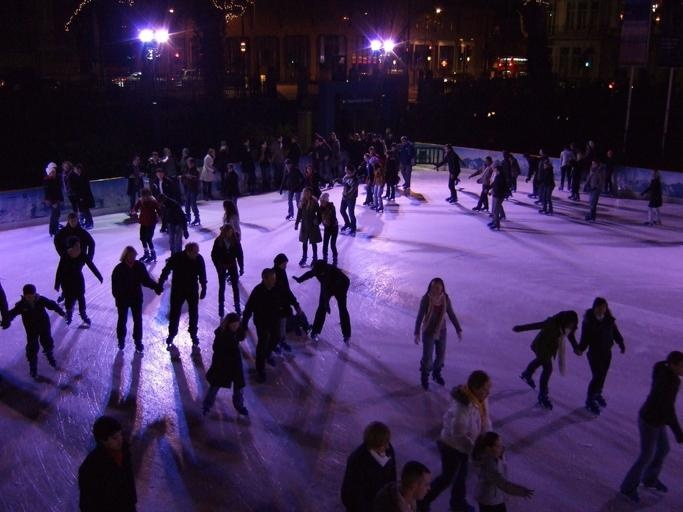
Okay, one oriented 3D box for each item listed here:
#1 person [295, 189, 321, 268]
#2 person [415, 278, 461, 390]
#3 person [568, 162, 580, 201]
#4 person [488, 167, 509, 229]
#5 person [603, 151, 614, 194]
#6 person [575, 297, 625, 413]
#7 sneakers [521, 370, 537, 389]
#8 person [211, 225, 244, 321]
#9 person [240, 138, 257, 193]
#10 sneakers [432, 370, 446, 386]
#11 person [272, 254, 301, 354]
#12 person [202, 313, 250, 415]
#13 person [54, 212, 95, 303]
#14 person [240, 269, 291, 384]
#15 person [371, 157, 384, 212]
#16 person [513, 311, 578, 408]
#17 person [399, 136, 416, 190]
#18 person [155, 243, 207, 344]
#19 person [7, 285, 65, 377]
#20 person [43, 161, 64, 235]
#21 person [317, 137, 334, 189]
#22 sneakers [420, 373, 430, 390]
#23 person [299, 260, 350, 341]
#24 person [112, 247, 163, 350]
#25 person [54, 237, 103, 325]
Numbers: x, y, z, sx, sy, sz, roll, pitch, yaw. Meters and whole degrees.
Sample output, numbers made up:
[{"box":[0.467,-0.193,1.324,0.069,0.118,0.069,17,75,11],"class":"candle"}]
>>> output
[{"box":[-0.899,-0.815,14.117,0.680,2.102,1.100,-3,13,-5],"class":"person"},{"box":[1.573,1.252,8.621,0.717,1.931,0.400,-1,22,3],"class":"person"},{"box":[9.943,-3.212,22.321,0.371,1.644,0.601,3,13,23],"class":"person"},{"box":[5.400,-2.117,18.129,0.597,2.128,1.592,2,13,16],"class":"person"},{"box":[11.788,-3.678,23.046,0.361,1.923,1.524,5,15,28],"class":"person"},{"box":[3.986,1.499,8.122,0.760,1.813,0.467,-8,14,-25],"class":"person"},{"box":[3.102,2.059,8.726,0.331,0.167,0.133,45,7,11],"class":"sneakers"},{"box":[-2.449,0.245,11.310,0.640,1.939,0.770,-5,13,-15],"class":"person"},{"box":[-4.164,-3.973,23.413,0.617,2.354,1.120,-4,13,-10],"class":"person"},{"box":[1.614,2.031,8.823,0.142,0.288,0.256,-3,11,-8],"class":"sneakers"},{"box":[-1.016,0.887,9.752,0.527,1.808,0.548,2,6,33],"class":"person"},{"box":[-1.747,1.586,7.900,0.562,1.734,0.478,4,22,-10],"class":"person"},{"box":[-5.622,0.128,11.119,0.801,2.241,0.611,-1,-20,-22],"class":"person"},{"box":[-1.353,1.133,8.930,0.552,1.848,1.086,-2,13,2],"class":"person"},{"box":[1.413,-2.777,20.253,0.442,2.135,1.421,-1,13,4],"class":"person"},{"box":[3.207,1.554,8.166,0.511,1.580,0.902,-13,27,-42],"class":"person"},{"box":[2.841,-4.185,23.567,0.897,2.444,0.798,4,31,20],"class":"person"},{"box":[-2.984,0.666,9.805,0.770,2.139,0.601,6,23,-12],"class":"person"},{"box":[-5.250,1.242,9.048,0.810,1.598,0.529,-1,12,6],"class":"person"},{"box":[-8.906,-1.736,16.274,0.536,2.209,0.711,-9,14,-31],"class":"person"},{"box":[-0.746,-4.292,24.514,0.616,2.242,1.195,-2,13,-1],"class":"person"},{"box":[1.378,2.072,8.702,0.079,0.347,0.105,-3,-11,7],"class":"sneakers"},{"box":[-0.375,0.840,10.015,1.079,1.979,0.703,-3,27,-11],"class":"person"},{"box":[-3.744,0.811,9.516,0.773,2.003,0.709,3,22,-13],"class":"person"},{"box":[-5.337,0.490,10.666,0.841,2.058,0.439,-1,36,-26],"class":"person"}]
